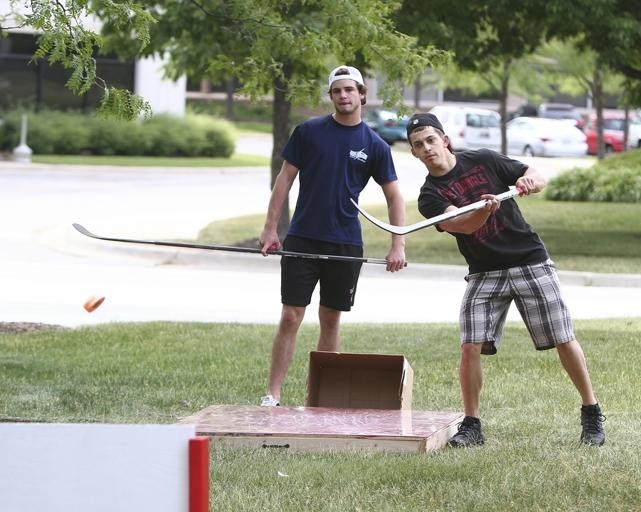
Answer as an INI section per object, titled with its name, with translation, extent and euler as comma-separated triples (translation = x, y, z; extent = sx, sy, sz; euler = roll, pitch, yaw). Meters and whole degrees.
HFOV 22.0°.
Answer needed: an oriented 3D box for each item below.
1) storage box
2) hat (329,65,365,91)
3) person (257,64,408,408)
[storage box]
translation = 0.378, 1.294, 17.060
extent = 1.042, 0.748, 0.770
euler = 1, 1, 6
[hat]
translation = 0.264, -1.824, 16.898
extent = 0.363, 0.236, 0.246
euler = 1, 14, -4
[person]
translation = 0.134, -0.150, 16.943
extent = 1.427, 3.525, 1.028
euler = 5, -2, -5
